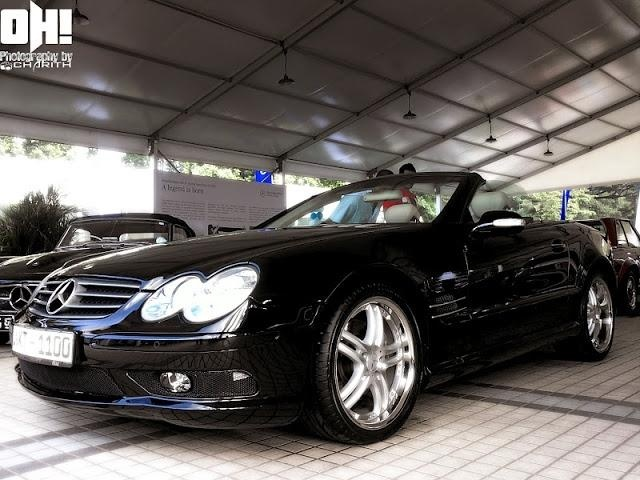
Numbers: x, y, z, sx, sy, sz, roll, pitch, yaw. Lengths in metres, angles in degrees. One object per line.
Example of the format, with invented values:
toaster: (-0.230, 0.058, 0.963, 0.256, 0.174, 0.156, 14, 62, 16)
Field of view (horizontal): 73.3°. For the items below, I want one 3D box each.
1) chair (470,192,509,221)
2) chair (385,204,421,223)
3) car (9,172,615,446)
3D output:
chair: (1.183, -0.251, 3.039, 0.315, 0.206, 0.278, 1, 5, 21)
chair: (0.534, -0.172, 2.803, 0.152, 0.109, 0.172, 1, 4, -15)
car: (0.518, 0.240, 2.774, 3.670, 0.817, 1.674, 1, -4, -39)
